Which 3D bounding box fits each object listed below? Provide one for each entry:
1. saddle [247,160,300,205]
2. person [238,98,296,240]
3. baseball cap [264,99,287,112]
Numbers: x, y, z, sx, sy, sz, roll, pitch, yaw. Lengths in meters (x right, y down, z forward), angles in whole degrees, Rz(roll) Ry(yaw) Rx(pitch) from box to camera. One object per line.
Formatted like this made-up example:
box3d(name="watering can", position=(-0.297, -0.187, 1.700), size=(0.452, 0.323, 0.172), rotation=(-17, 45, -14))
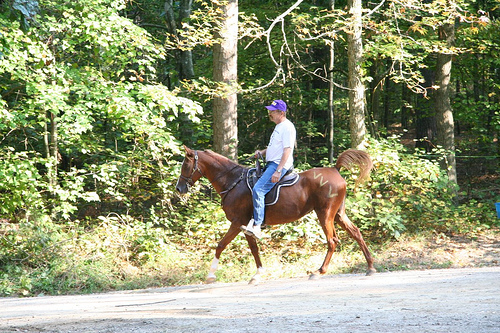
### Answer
box3d(name="saddle", position=(0.564, 0.390, 17.012), size=(1.309, 1.031, 0.392), rotation=(-1, 0, -1))
box3d(name="person", position=(0.479, 0.050, 16.836), size=(1.272, 3.206, 0.464), rotation=(-1, 0, 1))
box3d(name="baseball cap", position=(0.648, -1.528, 16.887), size=(0.401, 0.198, 0.248), rotation=(11, 9, 2))
